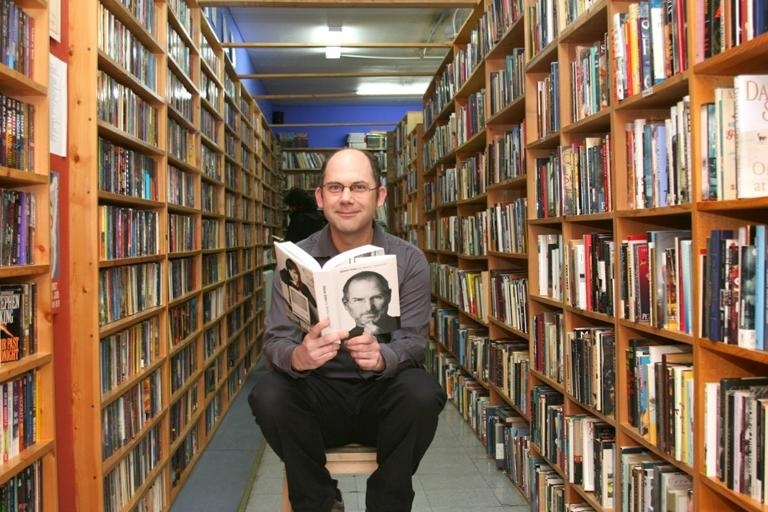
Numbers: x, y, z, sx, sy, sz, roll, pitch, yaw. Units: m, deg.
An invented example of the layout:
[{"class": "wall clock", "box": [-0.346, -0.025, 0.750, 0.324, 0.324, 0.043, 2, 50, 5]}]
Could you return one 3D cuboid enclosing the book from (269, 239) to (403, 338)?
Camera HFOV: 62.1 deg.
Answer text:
[{"class": "book", "box": [-0.152, 0.104, 2.286, 0.580, 0.212, 0.337, 2, -74, 13]}]
